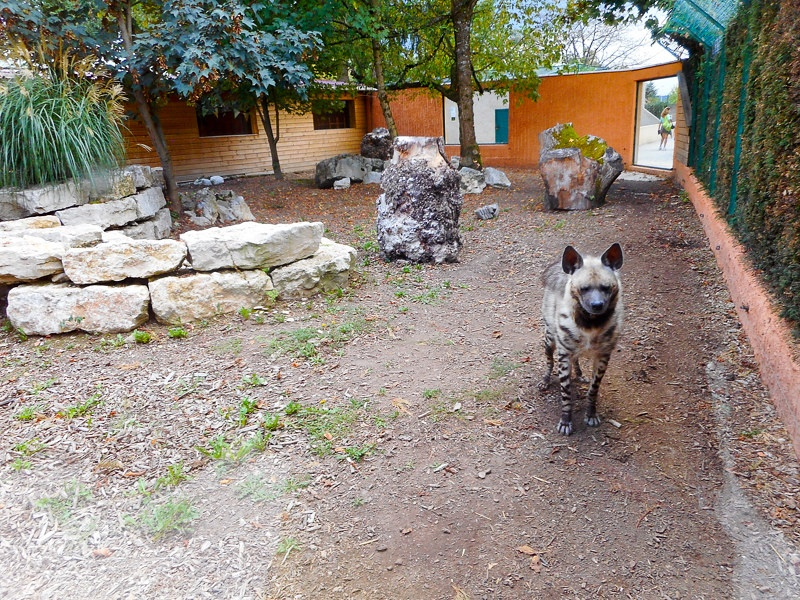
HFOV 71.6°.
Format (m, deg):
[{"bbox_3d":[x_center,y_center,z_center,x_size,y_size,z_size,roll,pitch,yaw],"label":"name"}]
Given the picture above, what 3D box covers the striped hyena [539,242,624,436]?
[{"bbox_3d":[1.593,0.277,4.932,0.649,1.630,0.844,-2,20,9],"label":"striped hyena"}]
